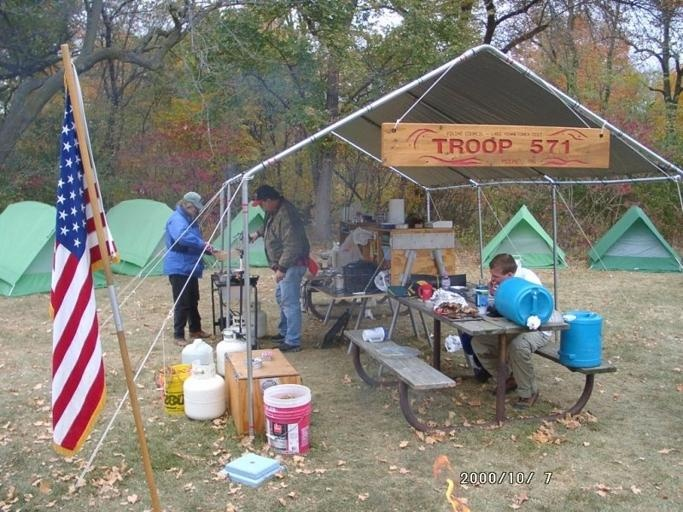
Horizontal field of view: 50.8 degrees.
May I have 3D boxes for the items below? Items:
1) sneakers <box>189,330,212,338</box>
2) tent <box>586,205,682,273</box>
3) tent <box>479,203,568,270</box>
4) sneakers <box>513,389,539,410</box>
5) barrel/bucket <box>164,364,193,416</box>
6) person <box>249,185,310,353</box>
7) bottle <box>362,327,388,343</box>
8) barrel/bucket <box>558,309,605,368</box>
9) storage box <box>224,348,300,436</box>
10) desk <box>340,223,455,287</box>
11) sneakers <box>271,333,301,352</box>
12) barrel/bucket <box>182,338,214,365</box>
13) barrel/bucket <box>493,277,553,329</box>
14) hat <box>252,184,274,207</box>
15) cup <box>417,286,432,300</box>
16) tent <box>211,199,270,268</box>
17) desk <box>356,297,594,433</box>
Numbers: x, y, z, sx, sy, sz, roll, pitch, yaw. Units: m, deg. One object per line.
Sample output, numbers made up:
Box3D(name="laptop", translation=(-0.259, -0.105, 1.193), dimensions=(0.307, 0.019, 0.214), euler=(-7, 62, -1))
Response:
Box3D(name="sneakers", translation=(-1.986, 1.097, 10.203), dimensions=(0.300, 0.121, 0.110), euler=(0, 4, -16))
Box3D(name="tent", translation=(6.142, -0.233, 14.981), dimensions=(1.705, 1.150, 1.465), euler=(-5, 11, -18))
Box3D(name="tent", translation=(3.876, -0.299, 15.081), dimensions=(1.640, 1.083, 1.664), euler=(0, 2, 10))
Box3D(name="sneakers", translation=(2.078, 1.618, 8.076), dimensions=(0.130, 0.146, 0.378), euler=(-8, -2, 42))
Box3D(name="barrel/bucket", translation=(-1.840, 1.512, 8.141), dimensions=(0.437, 0.476, 0.439), euler=(0, 2, 0))
Box3D(name="person", translation=(-0.805, 0.170, 9.571), dimensions=(0.705, 2.183, 0.520), euler=(3, 4, 0))
Box3D(name="bottle", translation=(0.400, 0.941, 8.507), dimensions=(0.219, 0.163, 0.096), euler=(-1, -20, -17))
Box3D(name="barrel/bucket", translation=(2.551, 0.889, 7.888), dimensions=(0.531, 0.727, 0.524), euler=(0, 2, 0))
Box3D(name="storage box", translation=(-0.869, 1.375, 7.915), dimensions=(0.740, 0.602, 1.219), euler=(-2, 6, -15))
Box3D(name="desk", translation=(0.999, -0.065, 9.646), dimensions=(0.770, 0.666, 1.331), euler=(0, -1, -20))
Box3D(name="sneakers", translation=(-0.766, 1.198, 9.816), dimensions=(0.495, 0.210, 0.162), euler=(15, 7, 5))
Box3D(name="barrel/bucket", translation=(-1.667, 1.116, 8.273), dimensions=(0.322, 0.368, 0.343), euler=(1, -4, 0))
Box3D(name="barrel/bucket", translation=(1.904, 0.446, 7.648), dimensions=(0.517, 0.523, 0.575), euler=(17, 5, -23))
Box3D(name="hat", translation=(-0.982, -0.799, 9.469), dimensions=(0.284, 0.268, 0.226), euler=(4, 4, 8))
Box3D(name="cup", translation=(1.004, 0.439, 8.590), dimensions=(0.152, 0.140, 0.117), euler=(-1, 3, -4))
Box3D(name="tent", translation=(-2.093, -0.481, 14.346), dimensions=(1.347, 1.113, 1.499), euler=(0, 4, -5))
Box3D(name="desk", translation=(1.290, 1.125, 8.021), dimensions=(1.702, 0.838, 1.518), euler=(2, 0, -27))
